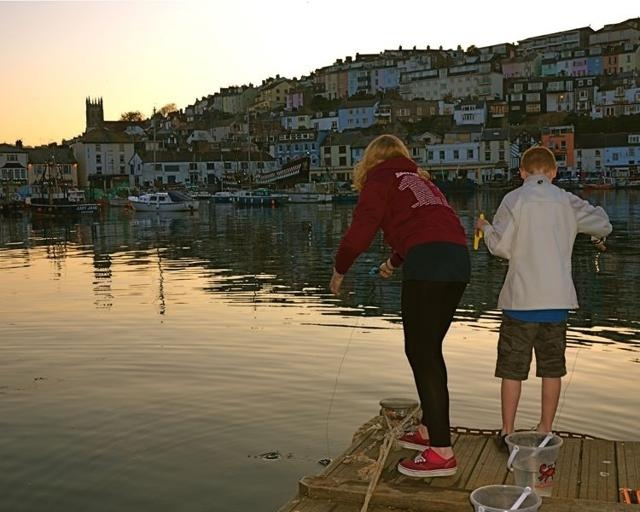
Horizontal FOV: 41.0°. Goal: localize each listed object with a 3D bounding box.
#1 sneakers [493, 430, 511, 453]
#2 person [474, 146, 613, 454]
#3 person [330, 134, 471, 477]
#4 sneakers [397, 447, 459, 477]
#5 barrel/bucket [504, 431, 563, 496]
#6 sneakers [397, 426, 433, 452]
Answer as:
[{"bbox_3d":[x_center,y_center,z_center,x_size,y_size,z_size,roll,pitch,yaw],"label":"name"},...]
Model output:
[{"bbox_3d":[1.501,1.516,7.077,0.097,0.113,0.279,-1,5,6],"label":"sneakers"},{"bbox_3d":[1.820,0.311,6.937,0.952,2.376,0.746,-4,7,-4],"label":"person"},{"bbox_3d":[0.704,0.368,6.698,0.932,2.617,0.601,-1,7,18],"label":"person"},{"bbox_3d":[0.845,1.602,6.670,0.434,0.194,0.196,2,-4,6],"label":"sneakers"},{"bbox_3d":[1.541,1.476,6.305,0.488,0.412,0.438,-1,-5,-2],"label":"barrel/bucket"},{"bbox_3d":[0.790,1.526,7.168,0.289,0.173,0.136,7,-2,22],"label":"sneakers"}]
